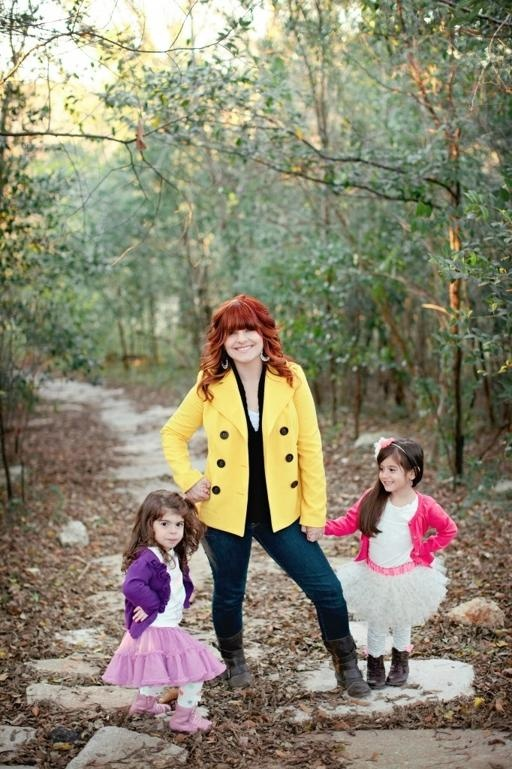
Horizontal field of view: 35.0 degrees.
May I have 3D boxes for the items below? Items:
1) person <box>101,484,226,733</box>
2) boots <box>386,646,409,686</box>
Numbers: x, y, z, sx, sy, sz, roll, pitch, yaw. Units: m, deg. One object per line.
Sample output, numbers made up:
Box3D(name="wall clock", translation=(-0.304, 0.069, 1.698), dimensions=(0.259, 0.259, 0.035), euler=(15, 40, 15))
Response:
Box3D(name="person", translation=(-0.384, 0.879, 3.200), dimensions=(0.467, 0.885, 0.425), euler=(-3, 11, -12))
Box3D(name="boots", translation=(0.604, 1.188, 3.431), dimensions=(0.071, 0.118, 0.188), euler=(-2, 2, 18))
